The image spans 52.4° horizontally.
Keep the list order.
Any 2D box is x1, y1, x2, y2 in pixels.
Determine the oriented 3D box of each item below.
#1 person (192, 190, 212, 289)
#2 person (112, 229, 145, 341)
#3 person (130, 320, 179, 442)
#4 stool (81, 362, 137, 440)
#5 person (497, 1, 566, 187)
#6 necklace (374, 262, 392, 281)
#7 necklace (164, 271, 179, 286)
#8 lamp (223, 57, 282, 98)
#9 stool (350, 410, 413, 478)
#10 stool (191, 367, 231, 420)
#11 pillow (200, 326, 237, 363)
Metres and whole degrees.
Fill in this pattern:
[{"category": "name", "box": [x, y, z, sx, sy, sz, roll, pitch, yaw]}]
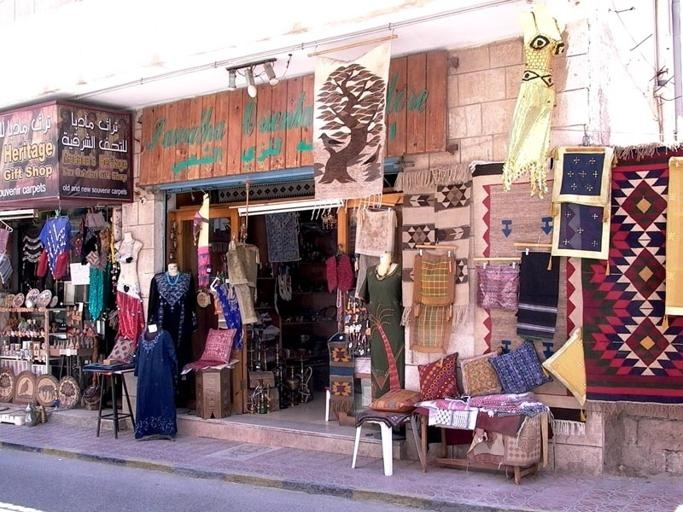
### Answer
[{"category": "person", "box": [-2.059, -0.209, 10.257, 0.239, 1.404, 0.842, 1, -3, -11]}, {"category": "person", "box": [-3.204, 0.445, 10.487, 0.658, 1.667, 0.184, -2, -4, 38]}, {"category": "person", "box": [-2.560, 1.765, 9.622, 0.517, 1.465, 0.324, 1, -3, -14]}, {"category": "stool", "box": [-3.249, 2.035, 9.862, 0.614, 1.015, 0.686, -5, 1, -41]}, {"category": "person", "box": [1.983, -1.664, 7.215, 0.602, 1.924, 0.338, 0, -3, 17]}, {"category": "necklace", "box": [0.534, 0.175, 8.733, 0.162, 0.243, 0.100, -1, 2, 14]}, {"category": "necklace", "box": [-2.487, 0.333, 10.222, 0.200, 0.189, 0.089, 2, -3, -17]}, {"category": "lamp", "box": [-1.132, -2.233, 8.785, 0.674, 0.466, 0.321, -7, 12, 9]}, {"category": "stool", "box": [0.456, 2.068, 7.936, 0.648, 0.639, 0.693, -4, -7, 24]}, {"category": "stool", "box": [-1.814, 1.956, 10.065, 0.712, 0.889, 0.566, -1, -11, -6]}, {"category": "pillow", "box": [-1.778, 1.306, 10.081, 0.479, 0.490, 0.148, -5, -23, 38]}]
